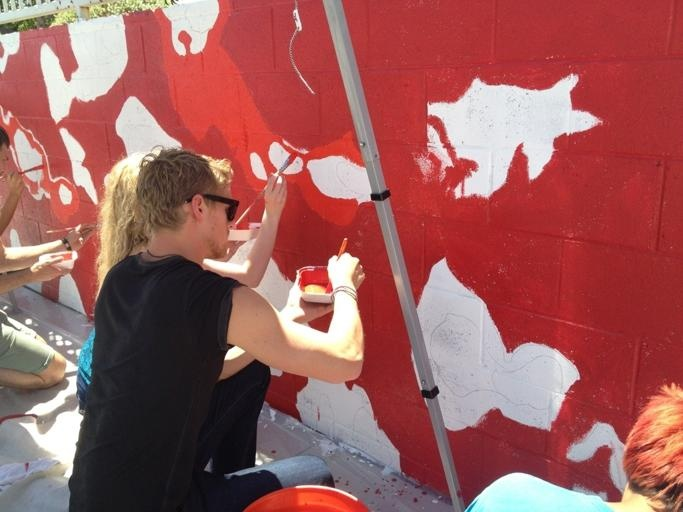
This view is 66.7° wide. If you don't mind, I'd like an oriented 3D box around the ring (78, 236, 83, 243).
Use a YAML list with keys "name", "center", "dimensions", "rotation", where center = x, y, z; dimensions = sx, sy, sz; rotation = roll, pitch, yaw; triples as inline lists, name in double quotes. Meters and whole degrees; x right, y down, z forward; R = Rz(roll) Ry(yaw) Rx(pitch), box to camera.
- name: "ring"
  center: [-1.531, -0.095, 3.051]
  dimensions: [0.007, 0.035, 0.030]
  rotation: [9, 4, 37]
